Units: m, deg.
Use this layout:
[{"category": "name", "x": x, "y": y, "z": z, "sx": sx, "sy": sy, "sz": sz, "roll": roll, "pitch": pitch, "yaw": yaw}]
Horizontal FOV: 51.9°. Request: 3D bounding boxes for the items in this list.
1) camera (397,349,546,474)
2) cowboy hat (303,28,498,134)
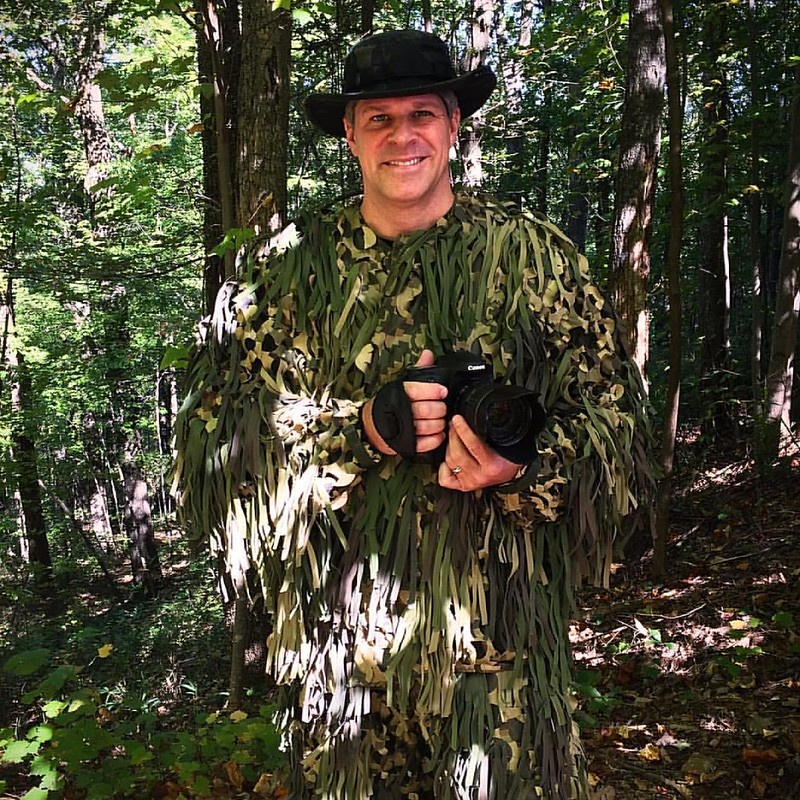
[{"category": "camera", "x": 0.223, "y": 0.020, "z": 2.276, "sx": 0.310, "sy": 0.218, "sz": 0.412, "roll": -4, "pitch": 12, "yaw": -43}, {"category": "cowboy hat", "x": 0.064, "y": -0.951, "z": 2.468, "sx": 0.436, "sy": 0.152, "sz": 0.443, "roll": -16, "pitch": -9, "yaw": -17}]
